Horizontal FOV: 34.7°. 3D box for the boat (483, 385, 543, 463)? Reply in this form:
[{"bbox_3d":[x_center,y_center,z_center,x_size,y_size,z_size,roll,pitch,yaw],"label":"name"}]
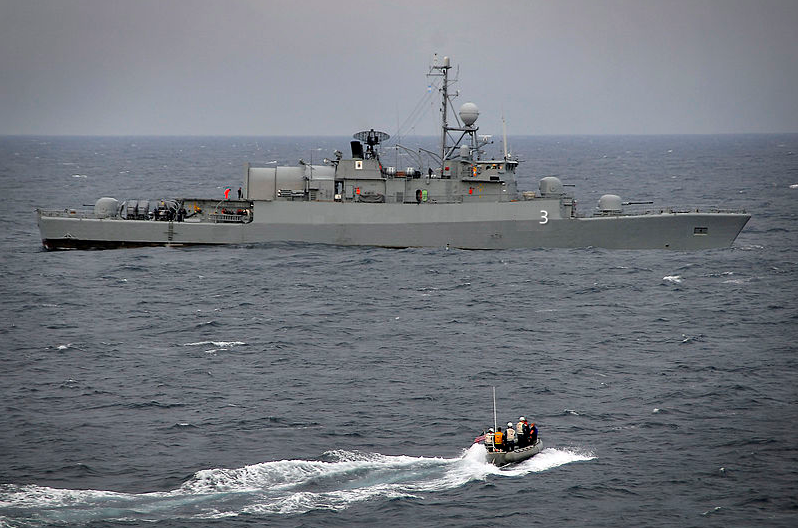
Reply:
[{"bbox_3d":[4.900,8.020,58.982,3.243,2.532,1.777,-4,4,-36],"label":"boat"}]
